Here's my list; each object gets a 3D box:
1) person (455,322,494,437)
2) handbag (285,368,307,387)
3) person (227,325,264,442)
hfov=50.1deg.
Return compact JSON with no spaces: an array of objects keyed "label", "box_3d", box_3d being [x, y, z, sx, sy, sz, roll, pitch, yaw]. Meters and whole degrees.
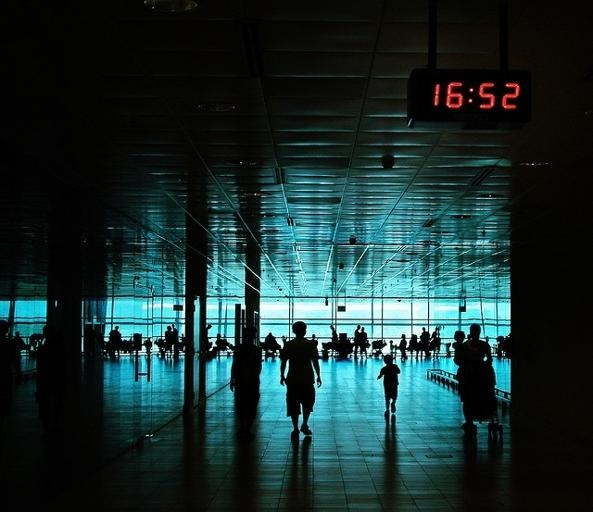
[{"label":"person","box_3d":[2.961,2.033,10.552,0.639,1.765,0.774,-2,-7,13]},{"label":"handbag","box_3d":[-0.006,1.826,9.542,0.277,0.177,0.273,1,-6,2]},{"label":"person","box_3d":[-0.779,1.973,9.909,0.437,1.709,0.480,1,-7,-5]}]
